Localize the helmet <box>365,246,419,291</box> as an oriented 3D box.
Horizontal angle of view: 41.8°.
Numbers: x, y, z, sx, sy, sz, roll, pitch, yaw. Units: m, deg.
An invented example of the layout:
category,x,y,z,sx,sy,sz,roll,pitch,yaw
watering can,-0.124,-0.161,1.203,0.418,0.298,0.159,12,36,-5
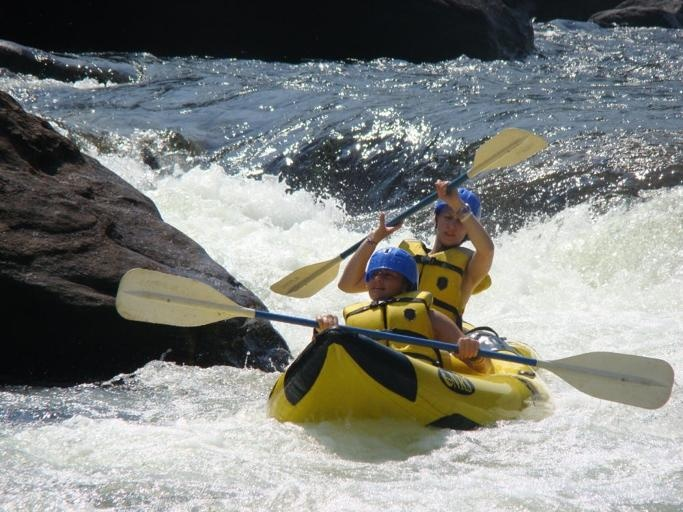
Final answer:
category,x,y,z,sx,sy,sz,roll,pitch,yaw
helmet,0.440,0.103,7.774,0.346,0.296,0.429,7,7,16
